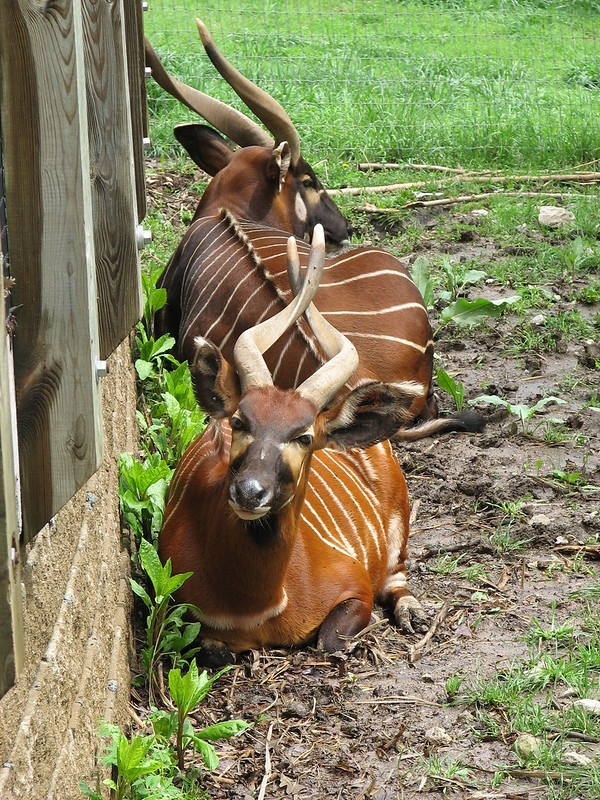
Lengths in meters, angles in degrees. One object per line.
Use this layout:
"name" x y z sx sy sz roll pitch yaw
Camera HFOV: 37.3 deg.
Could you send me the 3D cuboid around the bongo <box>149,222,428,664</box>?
"bongo" -0.033 0.128 2.758 0.807 1.223 1.284 2 21 5
